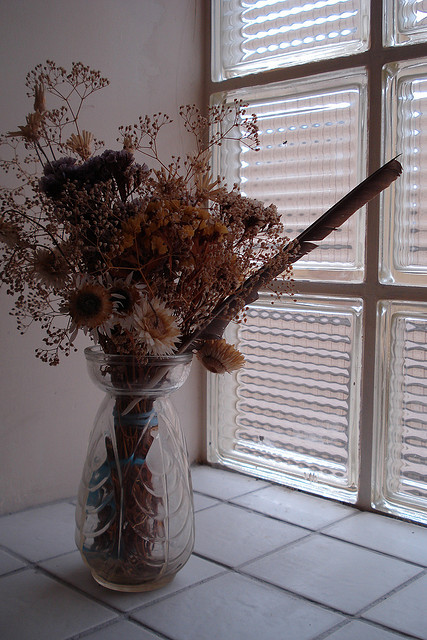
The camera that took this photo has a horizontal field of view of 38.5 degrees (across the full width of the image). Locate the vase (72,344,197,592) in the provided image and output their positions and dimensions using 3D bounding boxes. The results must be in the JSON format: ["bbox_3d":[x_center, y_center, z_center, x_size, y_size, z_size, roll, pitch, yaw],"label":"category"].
[{"bbox_3d":[-0.095,0.239,0.944,0.207,0.393,0.223,1,2,-19],"label":"vase"}]
